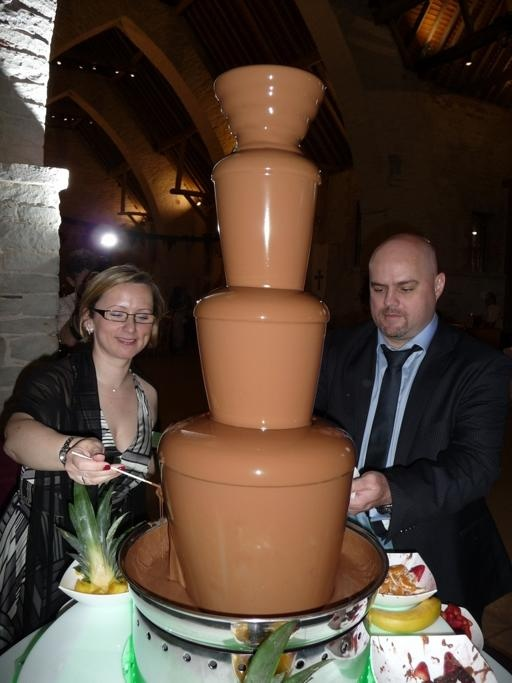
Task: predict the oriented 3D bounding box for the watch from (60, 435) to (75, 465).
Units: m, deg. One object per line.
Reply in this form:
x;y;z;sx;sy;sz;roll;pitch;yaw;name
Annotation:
-0.432;0.251;1.247;0.026;0.067;0.051;15;-7;-1;watch

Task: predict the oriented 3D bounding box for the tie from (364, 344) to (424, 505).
0.488;0.287;1.949;0.180;0.524;0.174;5;9;15;tie

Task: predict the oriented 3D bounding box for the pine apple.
-0.328;0.391;1.256;0.170;0.277;0.157;6;4;38;pine apple
